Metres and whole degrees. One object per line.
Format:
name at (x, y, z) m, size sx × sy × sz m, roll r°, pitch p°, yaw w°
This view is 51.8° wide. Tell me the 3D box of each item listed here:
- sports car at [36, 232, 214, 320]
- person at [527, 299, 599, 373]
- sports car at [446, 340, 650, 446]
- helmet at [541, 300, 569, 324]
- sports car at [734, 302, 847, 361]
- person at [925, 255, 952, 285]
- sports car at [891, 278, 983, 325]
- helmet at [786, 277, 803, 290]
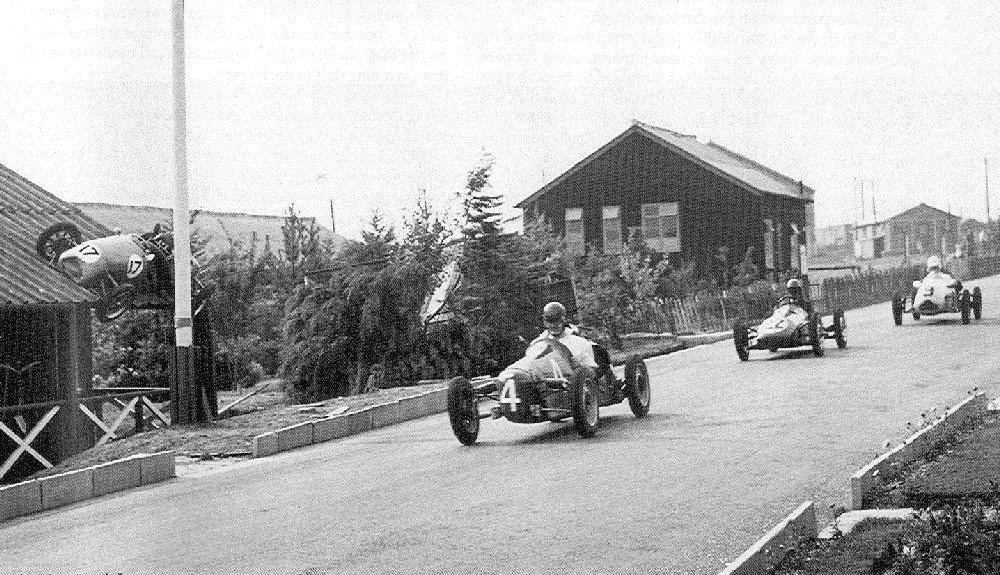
sports car at (-10.055, -0.412, 27.167) m, size 4.351 × 2.440 × 1.456 m, roll -6°, pitch -20°, yaw -43°
person at (1.302, 0.940, 21.351) m, size 0.957 × 0.870 × 1.612 m, roll -18°, pitch 11°, yaw 9°
sports car at (1.144, 2.071, 21.951) m, size 3.013 × 1.900 × 4.958 m, roll -7°, pitch -3°, yaw 23°
helmet at (1.118, 0.520, 21.400) m, size 0.400 × 0.405 × 0.489 m, roll 1°, pitch 4°, yaw 8°
sports car at (8.432, 1.243, 29.589) m, size 2.545 × 1.307 × 3.769 m, roll -3°, pitch 1°, yaw 30°
person at (14.462, -0.616, 33.918) m, size 0.939 × 0.525 × 1.041 m, roll 2°, pitch 12°, yaw 4°
sports car at (14.463, 0.460, 34.026) m, size 2.544 × 1.426 × 3.073 m, roll -6°, pitch -3°, yaw 24°
helmet at (8.205, -0.128, 28.730) m, size 0.391 × 0.245 × 0.385 m, roll -6°, pitch -3°, yaw 12°
